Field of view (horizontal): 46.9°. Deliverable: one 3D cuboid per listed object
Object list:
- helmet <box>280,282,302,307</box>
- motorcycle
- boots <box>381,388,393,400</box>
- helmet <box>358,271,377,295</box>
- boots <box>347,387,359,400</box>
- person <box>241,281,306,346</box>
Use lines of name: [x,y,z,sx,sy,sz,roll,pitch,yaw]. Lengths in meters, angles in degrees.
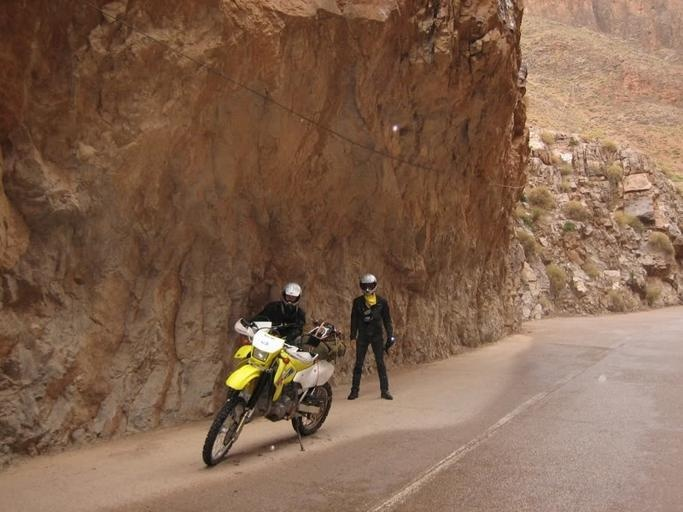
helmet: [-0.800,0.596,12.661,0.242,0.392,0.348,16,-10,1]
motorcycle: [-0.981,1.856,11.326,0.533,1.804,2.398,4,7,42]
boots: [0.810,2.435,13.847,0.212,0.125,0.351,-2,6,-9]
helmet: [0.488,0.522,14.395,0.247,0.357,0.397,0,6,12]
boots: [0.213,2.440,14.024,0.098,0.228,0.285,-5,-22,19]
person: [-1.008,1.057,12.538,0.613,0.686,1.035,1,30,17]
